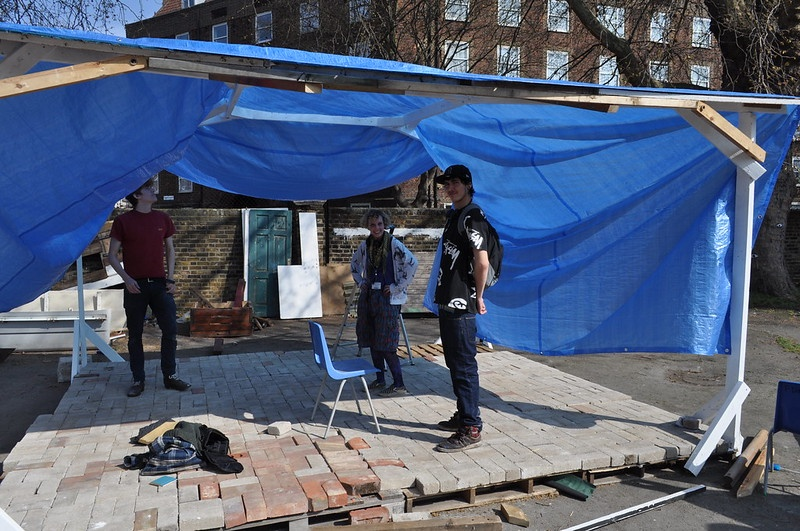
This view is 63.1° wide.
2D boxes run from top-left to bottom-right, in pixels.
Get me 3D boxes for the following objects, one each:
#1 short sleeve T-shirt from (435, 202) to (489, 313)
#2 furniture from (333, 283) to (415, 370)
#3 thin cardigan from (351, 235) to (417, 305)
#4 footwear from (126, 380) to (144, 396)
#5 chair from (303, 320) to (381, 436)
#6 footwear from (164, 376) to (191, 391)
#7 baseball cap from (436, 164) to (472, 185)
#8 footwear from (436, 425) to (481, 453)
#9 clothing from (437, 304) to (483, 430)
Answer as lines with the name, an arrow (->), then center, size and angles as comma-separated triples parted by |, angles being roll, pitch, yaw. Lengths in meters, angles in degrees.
short sleeve T-shirt -> 0.647, -0.080, 6.745 | 0.537, 1.111, 0.395 | 6, 12, 19
furniture -> -0.693, 0.959, 10.840 | 1.312, 1.765, 1.229 | 1, -5, -2
thin cardigan -> -0.250, 0.048, 8.262 | 0.875, 0.763, 0.429 | 6, 1, -2
footwear -> -3.235, 1.518, 8.027 | 0.188, 0.122, 0.282 | -1, 11, -18
chair -> -0.602, 1.235, 7.212 | 0.842, 1.157, 0.751 | 2, 5, -11
footwear -> -2.789, 1.504, 8.251 | 0.395, 0.167, 0.142 | 4, 4, 1
baseball cap -> 0.571, -0.957, 6.846 | 0.314, 0.161, 0.214 | 4, 0, -5
footwear -> 0.634, 1.796, 6.721 | 0.534, 0.216, 0.187 | 0, 1, -19
clothing -> 0.651, 1.127, 6.823 | 0.374, 1.360, 0.457 | -4, 13, -28
